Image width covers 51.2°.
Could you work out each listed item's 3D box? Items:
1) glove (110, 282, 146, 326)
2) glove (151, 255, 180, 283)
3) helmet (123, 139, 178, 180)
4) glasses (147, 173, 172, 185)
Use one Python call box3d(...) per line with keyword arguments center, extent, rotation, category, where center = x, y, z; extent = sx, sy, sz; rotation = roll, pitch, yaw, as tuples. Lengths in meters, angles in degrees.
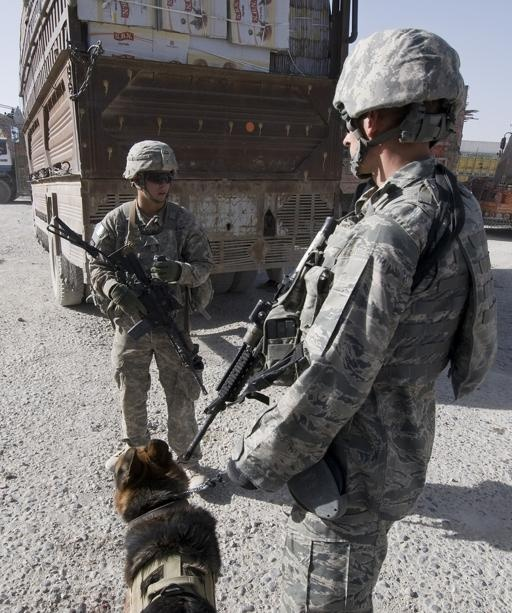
box3d(center=(-0.631, -0.018, 2.727), extent=(0.131, 0.221, 0.093), rotation=(-41, -11, -5), category="glove")
box3d(center=(-0.446, -0.190, 2.649), extent=(0.109, 0.134, 0.148), rotation=(12, 18, 33), category="glove")
box3d(center=(-0.547, -0.771, 2.774), extent=(0.212, 0.185, 0.249), rotation=(-5, 20, -18), category="helmet")
box3d(center=(-0.509, -0.645, 2.742), extent=(0.077, 0.026, 0.076), rotation=(-2, 1, -28), category="glasses")
